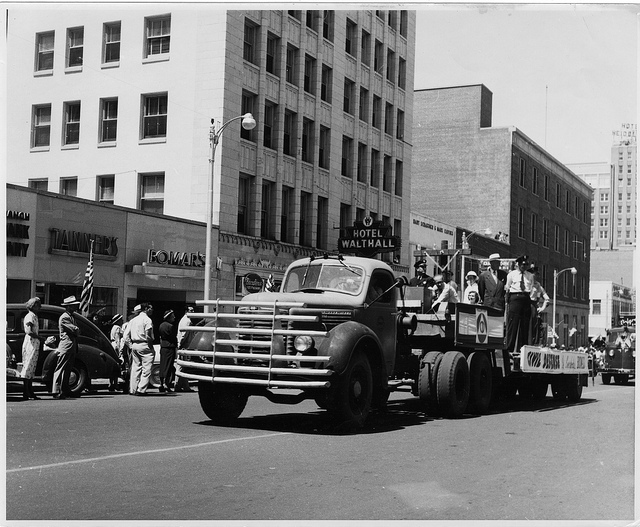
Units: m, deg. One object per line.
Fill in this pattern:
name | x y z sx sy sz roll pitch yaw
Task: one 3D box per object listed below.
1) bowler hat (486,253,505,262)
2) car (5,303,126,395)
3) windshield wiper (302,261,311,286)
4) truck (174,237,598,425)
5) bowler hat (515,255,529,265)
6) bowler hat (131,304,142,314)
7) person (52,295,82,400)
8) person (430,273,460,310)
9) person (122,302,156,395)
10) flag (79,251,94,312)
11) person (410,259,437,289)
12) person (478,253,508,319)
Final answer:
bowler hat | 3.766 -0.124 18.454 0.354 0.225 0.495 1 -7 19
car | -5.622 1.889 19.511 3.116 1.877 1.907 3 -7 -16
windshield wiper | -0.256 0.177 15.291 0.041 0.427 0.056 13 -28 15
truck | 1.511 1.249 16.249 2.581 3.632 8.959 -2 -9 41
bowler hat | 4.168 -0.089 17.671 0.229 0.225 0.356 2 -7 12
bowler hat | -4.898 1.183 22.511 0.405 0.178 0.458 2 -6 -15
person | -5.599 1.825 18.794 0.485 2.225 1.494 4 -6 -16
person | 2.550 0.585 17.368 0.617 1.029 0.528 1 -14 0
person | -4.278 1.977 20.158 0.581 2.189 1.207 5 -6 -20
flag | -6.632 0.605 24.204 0.234 1.337 0.163 5 2 -41
person | 3.079 0.247 25.994 0.809 1.516 0.533 2 -11 -5
person | 3.725 0.637 18.215 0.652 1.744 0.596 2 17 23
